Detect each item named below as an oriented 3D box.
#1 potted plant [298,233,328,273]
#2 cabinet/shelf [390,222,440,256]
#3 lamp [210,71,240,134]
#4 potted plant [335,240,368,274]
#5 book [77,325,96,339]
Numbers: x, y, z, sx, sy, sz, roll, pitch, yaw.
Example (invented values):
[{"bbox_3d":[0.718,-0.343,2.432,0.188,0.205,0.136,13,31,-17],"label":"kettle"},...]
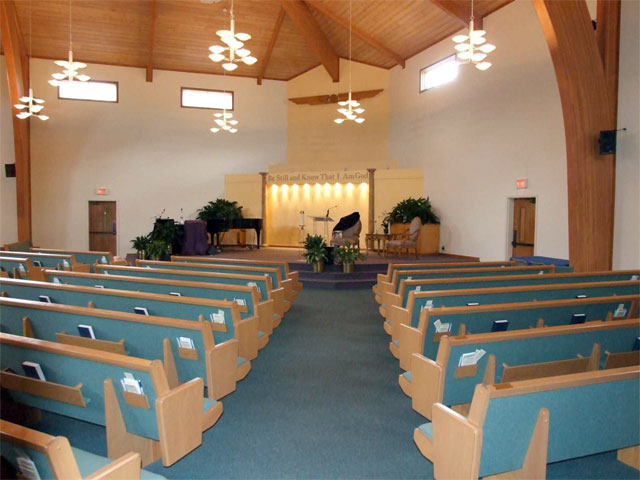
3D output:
[{"bbox_3d":[-0.073,0.264,10.256,0.515,0.749,0.585,-1,2,-5],"label":"potted plant"},{"bbox_3d":[2.566,-0.084,13.387,1.052,0.867,0.641,5,2,16],"label":"cabinet/shelf"},{"bbox_3d":[-2.762,-3.719,14.236,0.873,1.160,4.531,0,10,-12],"label":"lamp"},{"bbox_3d":[0.628,0.343,10.337,0.586,0.619,0.616,1,1,-4],"label":"potted plant"},{"bbox_3d":[-2.029,0.799,4.229,0.102,0.105,0.038,4,20,26],"label":"book"}]
